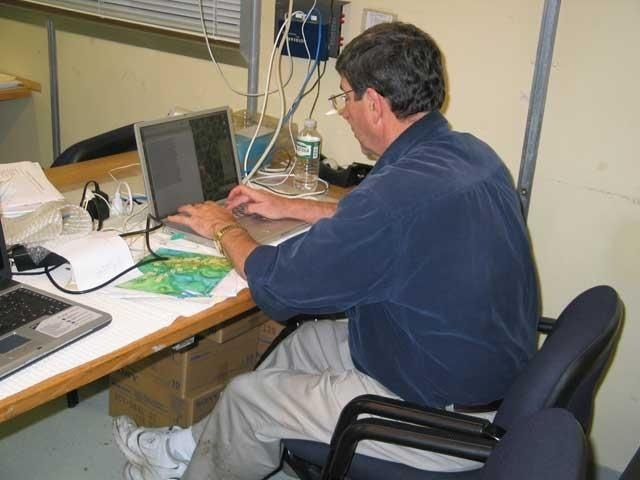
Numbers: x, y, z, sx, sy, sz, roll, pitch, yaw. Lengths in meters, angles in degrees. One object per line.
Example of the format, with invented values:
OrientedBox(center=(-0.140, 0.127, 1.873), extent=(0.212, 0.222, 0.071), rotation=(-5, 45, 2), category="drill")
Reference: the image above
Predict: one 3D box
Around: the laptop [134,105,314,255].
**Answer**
OrientedBox(center=(-0.427, -0.277, 1.847), extent=(0.490, 0.484, 0.702), rotation=(19, 31, 28), category="laptop")

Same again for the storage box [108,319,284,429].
OrientedBox(center=(-0.500, 0.485, 2.124), extent=(0.483, 0.524, 0.502), rotation=(15, 19, 33), category="storage box")

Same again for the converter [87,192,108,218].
OrientedBox(center=(-0.713, -0.106, 1.664), extent=(0.028, 0.059, 0.079), rotation=(-11, 16, -16), category="converter")

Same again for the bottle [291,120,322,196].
OrientedBox(center=(-0.056, -0.330, 2.098), extent=(0.119, 0.316, 0.106), rotation=(13, 19, 28), category="bottle")

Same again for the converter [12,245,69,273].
OrientedBox(center=(-0.774, 0.047, 1.433), extent=(0.127, 0.050, 0.072), rotation=(-1, 6, -18), category="converter")

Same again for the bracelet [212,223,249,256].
OrientedBox(center=(-0.268, 0.008, 1.608), extent=(0.085, 0.063, 0.088), rotation=(-19, 27, 39), category="bracelet")
